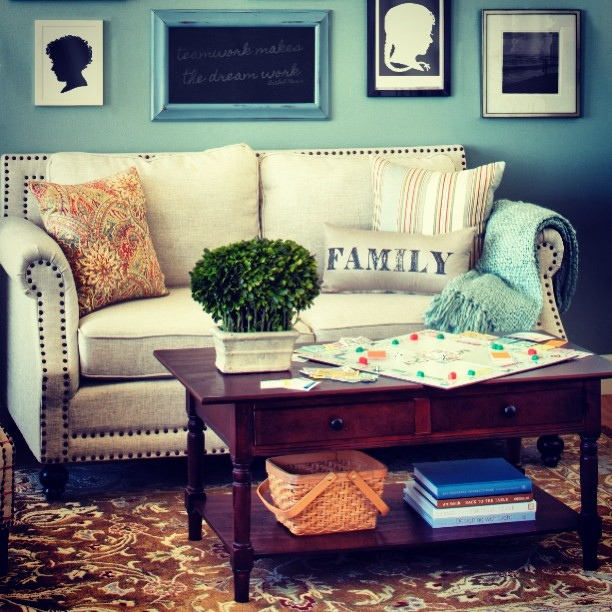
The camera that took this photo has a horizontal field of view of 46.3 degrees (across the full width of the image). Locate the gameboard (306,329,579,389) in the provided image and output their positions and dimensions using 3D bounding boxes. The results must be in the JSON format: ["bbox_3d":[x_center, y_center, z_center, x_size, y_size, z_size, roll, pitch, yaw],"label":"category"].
[{"bbox_3d":[0.317,0.119,1.722,0.501,0.049,0.435,-4,6,-40],"label":"gameboard"}]

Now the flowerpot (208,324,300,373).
[{"bbox_3d":[-0.118,0.098,1.585,0.198,0.099,0.103,0,6,-1],"label":"flowerpot"}]

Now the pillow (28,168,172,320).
[{"bbox_3d":[-0.681,-0.235,2.394,0.176,0.480,0.536,-23,-12,29],"label":"pillow"}]

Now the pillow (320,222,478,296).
[{"bbox_3d":[0.347,-0.168,2.688,0.613,0.238,0.149,4,4,24],"label":"pillow"}]

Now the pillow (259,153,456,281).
[{"bbox_3d":[0.152,-0.424,3.228,1.148,0.492,0.472,2,13,2],"label":"pillow"}]

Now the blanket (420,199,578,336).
[{"bbox_3d":[0.646,-0.143,2.533,0.665,0.362,0.426,-5,14,-21],"label":"blanket"}]

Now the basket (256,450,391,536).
[{"bbox_3d":[0.051,0.423,1.627,0.321,0.150,0.201,0,6,-5],"label":"basket"}]

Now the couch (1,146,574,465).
[{"bbox_3d":[-0.083,0.002,2.185,1.464,0.578,0.543,-1,7,-13],"label":"couch"}]
